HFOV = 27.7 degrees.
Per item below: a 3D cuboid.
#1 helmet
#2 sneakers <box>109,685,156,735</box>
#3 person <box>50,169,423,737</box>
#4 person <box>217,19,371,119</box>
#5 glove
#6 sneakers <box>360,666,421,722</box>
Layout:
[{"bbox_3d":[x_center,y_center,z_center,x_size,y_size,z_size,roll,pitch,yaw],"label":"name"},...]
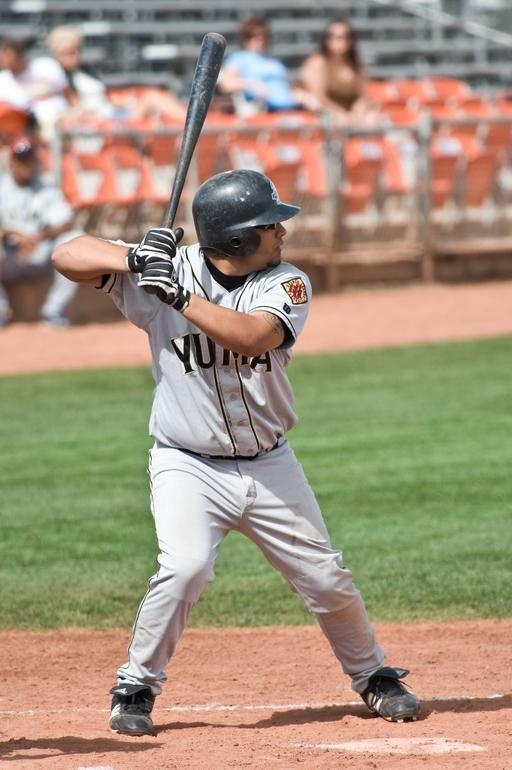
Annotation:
[{"bbox_3d":[-0.024,-0.473,2.797,0.309,0.190,0.216,-2,12,1],"label":"helmet"},{"bbox_3d":[-0.329,0.854,2.718,0.082,0.076,0.199,2,-7,-6],"label":"sneakers"},{"bbox_3d":[-0.055,0.190,2.803,0.879,1.550,0.429,-4,7,-10],"label":"person"},{"bbox_3d":[0.331,-2.587,8.783,0.795,0.725,1.486,5,2,-27],"label":"person"},{"bbox_3d":[-0.246,-0.304,2.583,0.059,0.215,0.166,-47,-18,32],"label":"glove"},{"bbox_3d":[0.363,0.857,2.922,0.101,0.095,0.195,-11,4,-25],"label":"sneakers"}]
